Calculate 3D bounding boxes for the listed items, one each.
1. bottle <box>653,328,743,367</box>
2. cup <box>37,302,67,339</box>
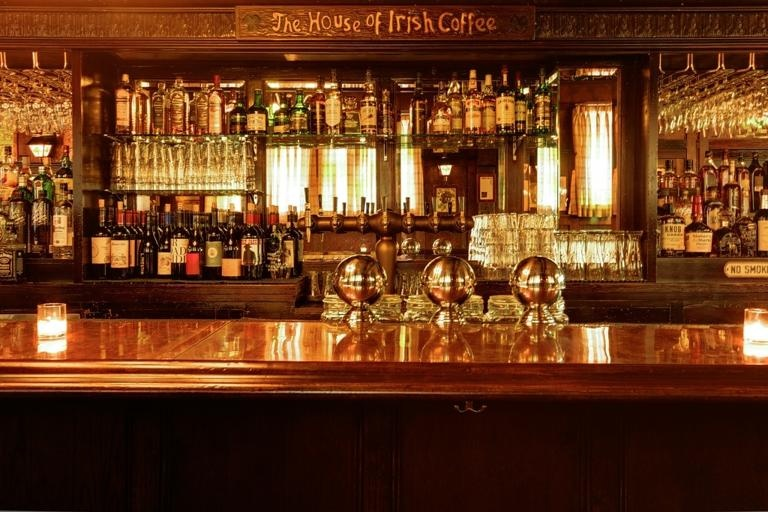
[{"bbox_3d":[1.237,0.347,3.998,0.330,0.091,0.520,1,3,15],"label":"bottle"},{"bbox_3d":[-1.325,0.259,4.042,0.141,0.131,0.097,0,3,5],"label":"cup"}]
